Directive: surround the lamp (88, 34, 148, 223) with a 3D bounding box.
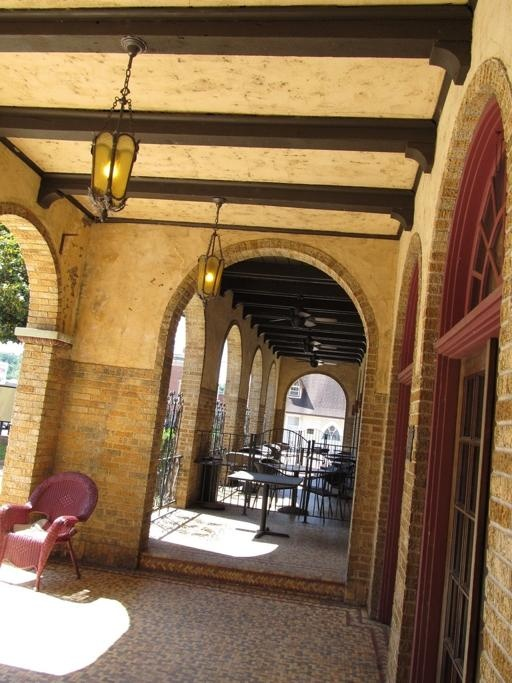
[{"bbox_3d":[-0.750,-1.171,2.844,0.307,1.041,0.285,8,-8,-16],"label":"lamp"}]
